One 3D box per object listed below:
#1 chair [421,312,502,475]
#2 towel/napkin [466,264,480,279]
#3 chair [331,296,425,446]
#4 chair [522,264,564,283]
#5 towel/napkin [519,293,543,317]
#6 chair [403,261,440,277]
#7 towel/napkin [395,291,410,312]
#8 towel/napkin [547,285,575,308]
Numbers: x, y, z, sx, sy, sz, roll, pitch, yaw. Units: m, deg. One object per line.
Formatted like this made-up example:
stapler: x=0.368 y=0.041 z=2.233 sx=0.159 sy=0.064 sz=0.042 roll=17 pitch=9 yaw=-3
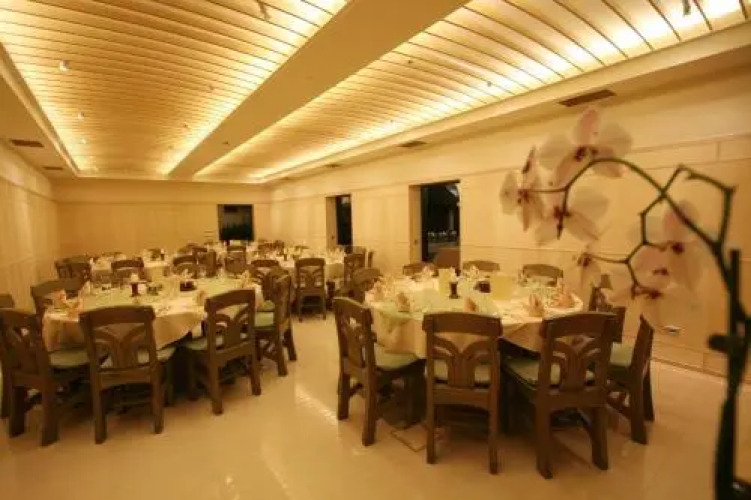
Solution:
chair: x=0.948 y=1.502 z=5.377 sx=0.858 sy=1.764 sz=0.640 roll=-2 pitch=3 yaw=8
towel/napkin: x=1.424 y=0.316 z=7.237 sx=0.159 sy=0.070 sz=0.211 roll=-4 pitch=13 yaw=-12
chair: x=-0.016 y=1.346 z=5.807 sx=0.927 sy=1.676 sz=0.795 roll=-5 pitch=3 yaw=-34
chair: x=2.414 y=0.317 z=7.152 sx=0.451 sy=0.332 sz=0.444 roll=-2 pitch=7 yaw=3
towel/napkin: x=1.826 y=0.619 z=5.611 sx=0.277 sy=0.325 sz=0.244 roll=3 pitch=30 yaw=31
chair: x=0.617 y=0.301 z=7.626 sx=0.342 sy=0.289 sz=0.311 roll=-2 pitch=10 yaw=-16
towel/napkin: x=0.308 y=0.591 z=5.767 sx=0.120 sy=0.124 sz=0.240 roll=-3 pitch=27 yaw=3
towel/napkin: x=2.246 y=0.567 z=5.845 sx=0.235 sy=0.099 sz=0.306 roll=1 pitch=10 yaw=25
